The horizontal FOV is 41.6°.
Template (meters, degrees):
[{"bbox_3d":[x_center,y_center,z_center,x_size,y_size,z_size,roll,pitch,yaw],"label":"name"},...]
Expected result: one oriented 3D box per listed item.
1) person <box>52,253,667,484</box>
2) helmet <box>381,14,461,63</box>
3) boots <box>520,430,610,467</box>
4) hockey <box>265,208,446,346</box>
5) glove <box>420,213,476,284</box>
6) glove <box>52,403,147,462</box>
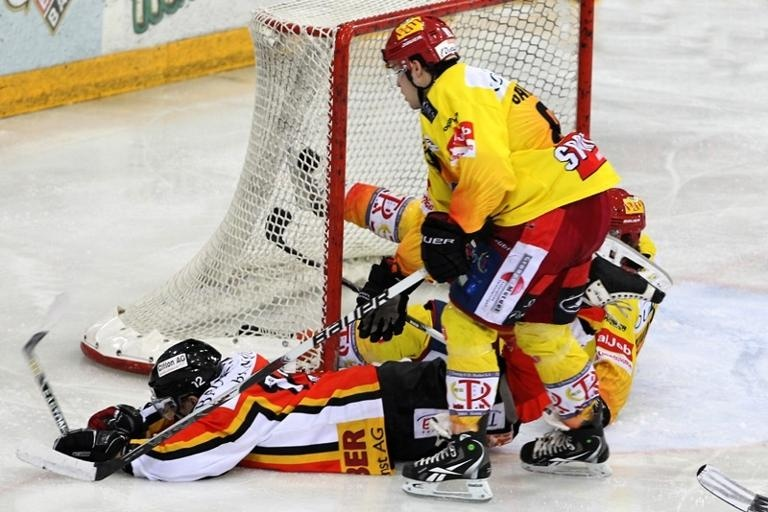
[{"bbox_3d":[0.090,0.480,4.780,1.392,0.523,1.500,-9,6,15],"label":"person"},{"bbox_3d":[0.177,-0.975,4.509,0.296,0.222,0.219,5,13,23],"label":"helmet"},{"bbox_3d":[0.820,0.871,4.637,0.468,0.188,0.143,2,37,6],"label":"boots"},{"bbox_3d":[-0.169,0.108,5.105,1.076,0.114,0.262,35,60,24],"label":"hockey"},{"bbox_3d":[0.262,-0.034,4.354,0.183,0.298,0.121,17,31,37],"label":"glove"},{"bbox_3d":[-1.287,0.785,4.561,0.283,0.103,0.266,-23,13,-14],"label":"glove"}]
